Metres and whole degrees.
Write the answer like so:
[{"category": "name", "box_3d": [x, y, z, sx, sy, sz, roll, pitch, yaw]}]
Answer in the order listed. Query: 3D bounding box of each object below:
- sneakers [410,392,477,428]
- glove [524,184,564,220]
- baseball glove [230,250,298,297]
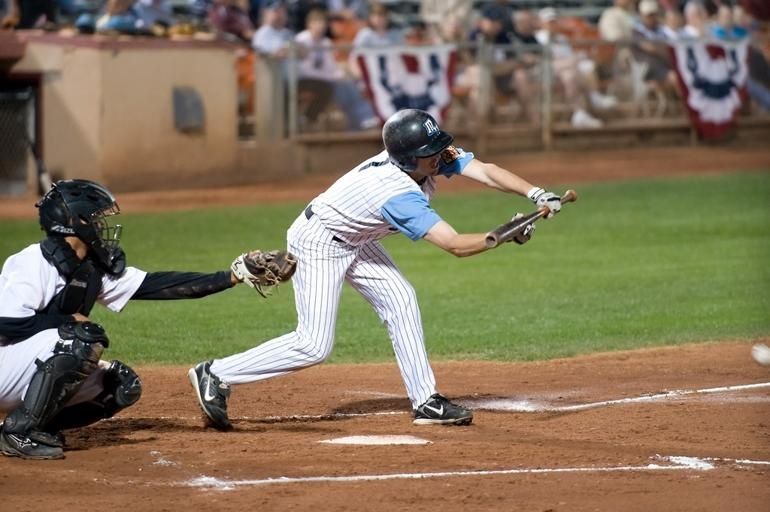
[{"category": "sneakers", "box_3d": [0.510, 1.400, 11.921, 0.583, 0.214, 0.202, -7, 3, 30]}, {"category": "glove", "box_3d": [1.398, -0.471, 11.766, 0.354, 0.116, 0.222, 26, 46, 37]}, {"category": "baseball glove", "box_3d": [-1.137, 0.069, 11.636, 0.625, 0.247, 0.392, 5, 29, -6]}]
